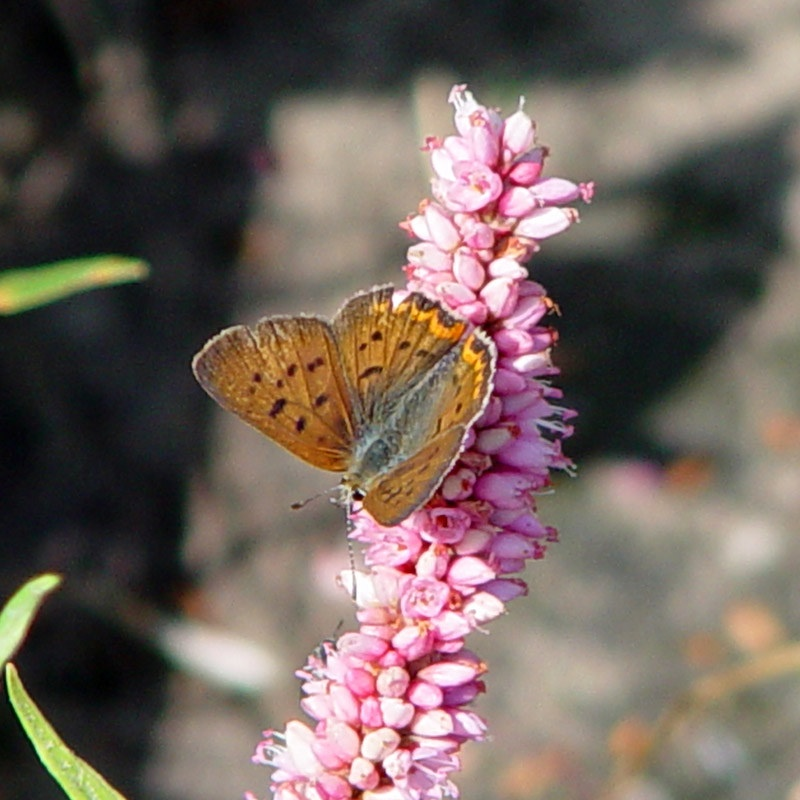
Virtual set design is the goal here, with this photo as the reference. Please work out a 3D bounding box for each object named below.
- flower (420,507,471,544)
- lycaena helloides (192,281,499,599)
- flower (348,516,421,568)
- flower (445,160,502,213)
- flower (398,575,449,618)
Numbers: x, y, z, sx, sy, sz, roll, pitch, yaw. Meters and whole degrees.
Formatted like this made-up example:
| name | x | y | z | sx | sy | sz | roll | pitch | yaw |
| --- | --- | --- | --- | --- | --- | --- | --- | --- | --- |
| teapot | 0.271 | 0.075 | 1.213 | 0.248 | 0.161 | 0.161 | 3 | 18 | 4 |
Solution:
| name | x | y | z | sx | sy | sz | roll | pitch | yaw |
| --- | --- | --- | --- | --- | --- | --- | --- | --- | --- |
| flower | 0.046 | 0.139 | 1.294 | 0.055 | 0.040 | 0.025 | 9 | 23 | 0 |
| lycaena helloides | -0.050 | 0.007 | 1.326 | 0.313 | 0.262 | 0.171 | 17 | 24 | 19 |
| flower | -0.014 | 0.160 | 1.317 | 0.071 | 0.056 | 0.026 | 8 | 19 | 19 |
| flower | 0.080 | -0.238 | 1.318 | 0.064 | 0.049 | 0.033 | 28 | 10 | 17 |
| flower | 0.025 | 0.216 | 1.289 | 0.051 | 0.047 | 0.024 | 12 | 23 | 7 |
